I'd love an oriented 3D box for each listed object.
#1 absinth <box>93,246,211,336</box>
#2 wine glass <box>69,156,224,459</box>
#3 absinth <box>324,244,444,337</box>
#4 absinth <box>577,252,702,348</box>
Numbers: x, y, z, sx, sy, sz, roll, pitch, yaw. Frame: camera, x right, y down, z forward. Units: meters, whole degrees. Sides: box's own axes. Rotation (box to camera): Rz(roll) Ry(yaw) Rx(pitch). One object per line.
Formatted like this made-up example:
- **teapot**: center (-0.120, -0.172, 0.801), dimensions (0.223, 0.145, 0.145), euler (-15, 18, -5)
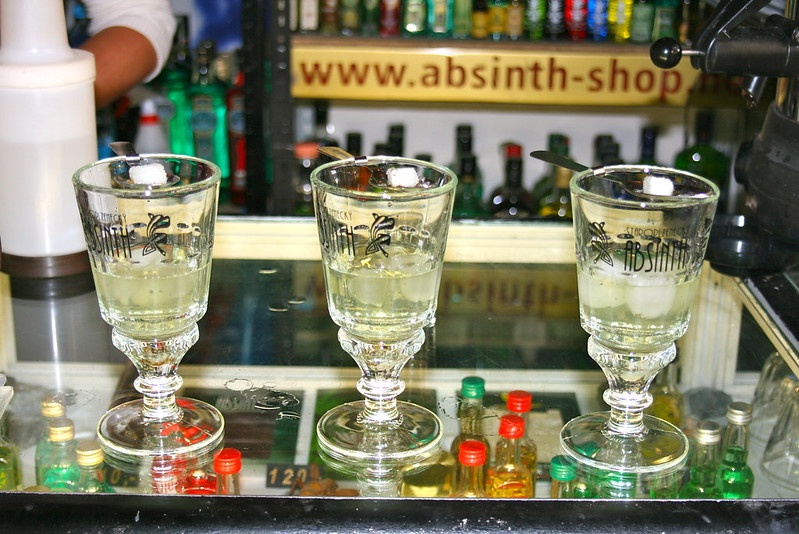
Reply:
- **absinth**: center (-0.239, 0.010, 0.714), dimensions (0.104, 0.063, 0.090), euler (0, 14, -2)
- **wine glass**: center (-0.236, 0.046, 0.717), dimensions (0.150, 0.244, 0.141), euler (-3, 3, -11)
- **absinth**: center (-0.016, 0.021, 0.671), dimensions (0.106, 0.091, 0.035), euler (0, 27, 2)
- **absinth**: center (0.217, 0.033, 0.678), dimensions (0.107, 0.084, 0.043), euler (4, 27, 10)
